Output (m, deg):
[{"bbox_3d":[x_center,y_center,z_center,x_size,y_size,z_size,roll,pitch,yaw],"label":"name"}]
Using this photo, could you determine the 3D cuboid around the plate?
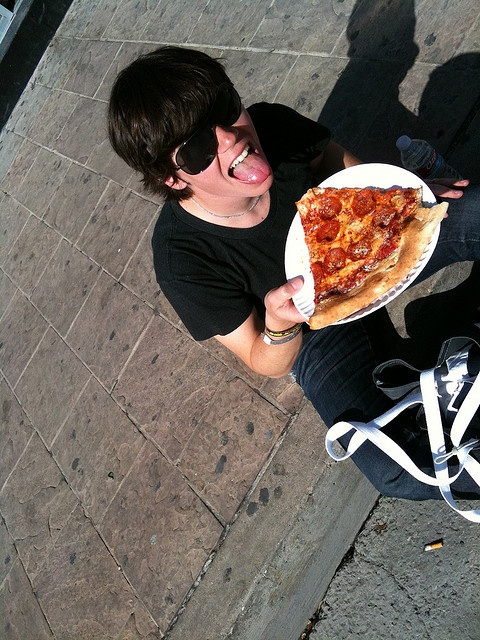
[{"bbox_3d":[0.503,-0.329,2.267,0.750,0.222,0.623,-36,66,2],"label":"plate"}]
